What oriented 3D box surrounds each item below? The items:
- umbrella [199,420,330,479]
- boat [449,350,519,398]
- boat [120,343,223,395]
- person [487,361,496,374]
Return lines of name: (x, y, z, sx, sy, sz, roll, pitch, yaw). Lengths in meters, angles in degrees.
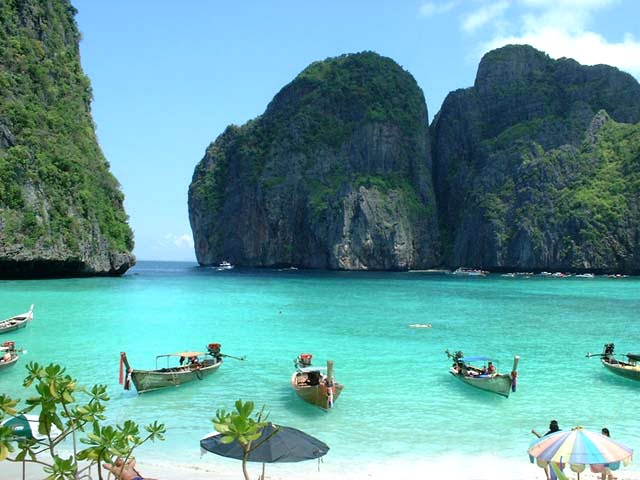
umbrella: (-1.989, 8.352, 22.081, 4.610, 1.834, 1.405, -2, -2, -1)
boat: (9.301, 7.870, 33.294, 1.673, 2.398, 6.026, 1, 3, -24)
boat: (-8.471, 7.765, 33.180, 2.501, 2.395, 6.510, -6, -6, 35)
person: (9.975, 7.445, 32.417, 0.507, 0.809, 0.297, 0, -5, 14)
